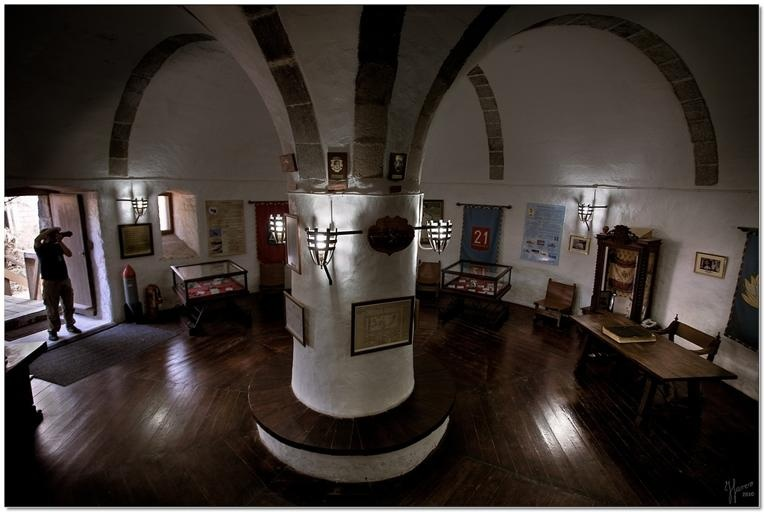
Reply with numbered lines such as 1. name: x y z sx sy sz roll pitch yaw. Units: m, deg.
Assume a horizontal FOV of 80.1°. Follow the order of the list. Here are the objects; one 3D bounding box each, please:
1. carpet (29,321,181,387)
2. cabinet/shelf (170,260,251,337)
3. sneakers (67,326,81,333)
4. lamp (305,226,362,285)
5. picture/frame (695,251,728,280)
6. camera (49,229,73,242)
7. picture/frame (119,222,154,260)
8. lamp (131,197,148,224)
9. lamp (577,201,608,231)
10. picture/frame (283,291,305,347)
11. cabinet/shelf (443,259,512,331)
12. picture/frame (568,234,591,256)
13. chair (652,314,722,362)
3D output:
1. carpet: -6.302 2.144 10.159 1.726 0.563 2.587 4 8 33
2. cabinet/shelf: -4.519 1.208 12.089 1.999 1.699 2.080 -7 13 -39
3. sneakers: -7.383 1.746 10.833 0.327 0.127 0.137 3 5 0
4. lamp: -0.787 -0.006 7.164 0.753 0.970 0.382 -1 8 0
5. picture/frame: 6.970 0.180 9.494 0.042 0.546 0.559 -7 11 -31
6. camera: -7.601 -0.503 10.592 0.383 0.246 0.525 -4 10 -40
7. picture/frame: -6.411 -0.406 11.665 0.152 0.992 0.959 5 7 42
8. lamp: -6.235 -1.188 11.635 0.415 0.647 0.286 -6 10 -33
9. lamp: 5.232 -1.041 11.448 0.855 0.974 0.493 1 8 13
10. picture/frame: -1.516 1.088 7.887 0.136 0.860 0.671 -7 10 -32
11. cabinet/shelf: 2.602 0.974 12.505 1.895 1.468 2.218 1 8 15
12. picture/frame: 5.205 -0.303 11.831 0.061 0.491 0.550 0 8 -39
13. chair: 6.290 1.680 9.203 0.843 1.389 0.783 -3 11 -14
